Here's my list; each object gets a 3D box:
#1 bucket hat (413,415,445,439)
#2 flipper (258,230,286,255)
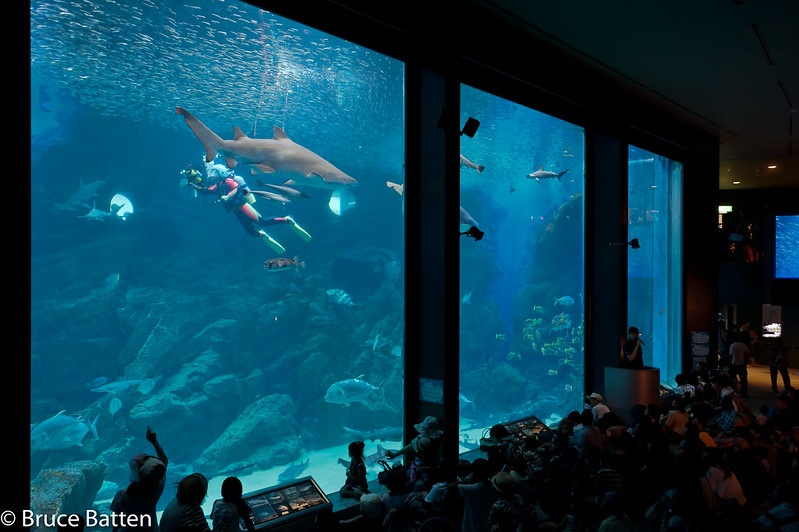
[{"bbox_3d":[0.590,3.278,11.443,0.564,0.239,0.454,6,16,-31],"label":"bucket hat"},{"bbox_3d":[-7.165,-1.293,31.765,2.183,0.580,0.838,24,4,29],"label":"flipper"}]
